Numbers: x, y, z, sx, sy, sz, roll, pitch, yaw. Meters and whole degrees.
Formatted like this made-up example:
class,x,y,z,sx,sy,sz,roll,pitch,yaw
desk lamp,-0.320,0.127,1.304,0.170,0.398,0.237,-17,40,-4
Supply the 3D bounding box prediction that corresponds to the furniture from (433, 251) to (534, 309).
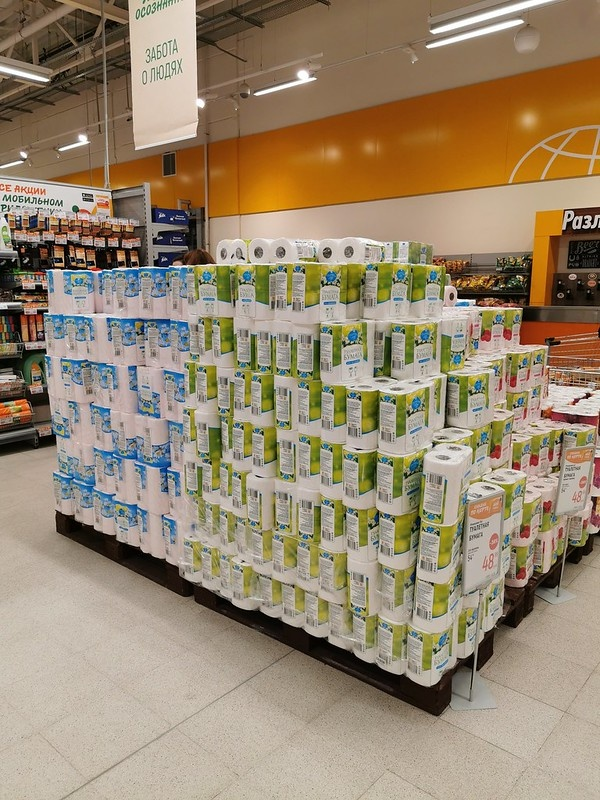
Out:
class,x,y,z,sx,sy,sz,roll,pitch,yaw
furniture,2.134,-1.509,7.965,0.345,0.607,1.100,-23,22,-39
